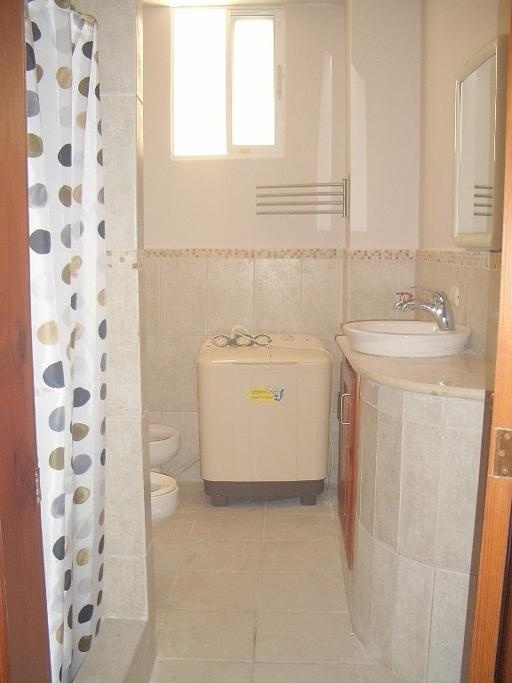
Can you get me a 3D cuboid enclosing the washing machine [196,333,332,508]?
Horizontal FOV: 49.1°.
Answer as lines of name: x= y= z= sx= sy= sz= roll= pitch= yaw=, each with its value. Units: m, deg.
washing machine: x=0.028 y=0.381 z=3.187 sx=0.620 sy=1.112 sz=0.720 roll=0 pitch=12 yaw=2
